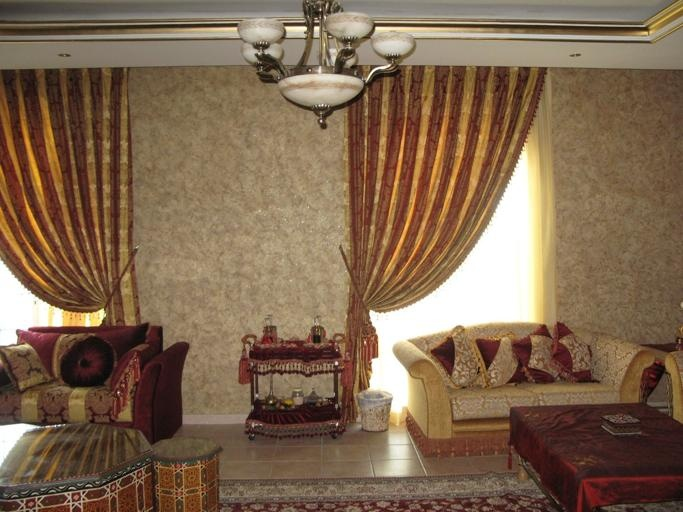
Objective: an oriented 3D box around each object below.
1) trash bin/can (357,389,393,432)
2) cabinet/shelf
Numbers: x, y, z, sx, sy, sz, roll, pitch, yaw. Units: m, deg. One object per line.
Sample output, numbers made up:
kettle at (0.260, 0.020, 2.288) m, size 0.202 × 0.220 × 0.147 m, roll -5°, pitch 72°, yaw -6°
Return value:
trash bin/can at (0.339, 1.626, 6.534) m, size 0.377 × 0.387 × 0.292 m, roll -1°, pitch 13°, yaw 0°
cabinet/shelf at (-0.498, 1.329, 6.423) m, size 1.065 × 0.977 × 0.646 m, roll -1°, pitch 13°, yaw -1°
